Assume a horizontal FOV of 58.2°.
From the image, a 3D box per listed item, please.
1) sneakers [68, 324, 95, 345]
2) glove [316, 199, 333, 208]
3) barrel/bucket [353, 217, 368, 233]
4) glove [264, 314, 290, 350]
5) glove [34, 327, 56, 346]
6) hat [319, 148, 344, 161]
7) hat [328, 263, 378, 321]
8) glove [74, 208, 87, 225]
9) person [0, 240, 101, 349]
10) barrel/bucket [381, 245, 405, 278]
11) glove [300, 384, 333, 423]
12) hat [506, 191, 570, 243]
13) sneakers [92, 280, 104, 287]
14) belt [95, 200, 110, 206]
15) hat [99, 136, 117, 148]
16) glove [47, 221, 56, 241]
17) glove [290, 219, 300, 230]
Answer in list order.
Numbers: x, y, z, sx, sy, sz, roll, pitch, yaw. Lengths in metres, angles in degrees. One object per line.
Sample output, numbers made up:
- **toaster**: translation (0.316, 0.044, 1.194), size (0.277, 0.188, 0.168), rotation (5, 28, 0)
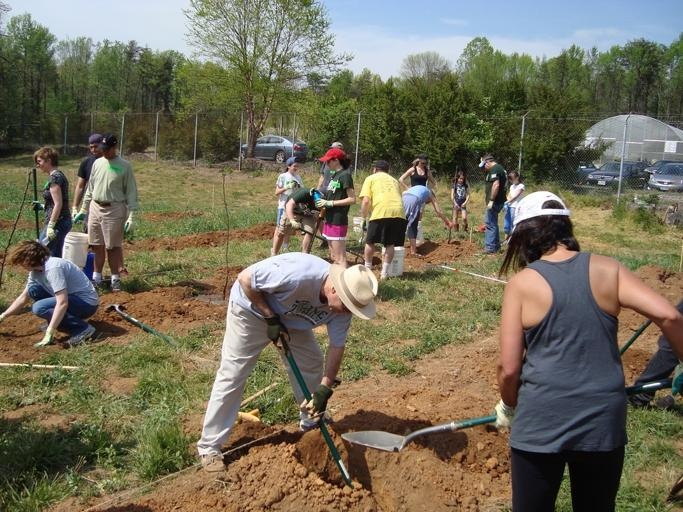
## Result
- **sneakers**: translation (-3.182, 0.975, 7.547), size (0.141, 0.357, 0.162), rotation (29, -33, 7)
- **glove**: translation (-0.266, -0.793, 9.274), size (0.287, 0.122, 0.125), rotation (5, 6, 10)
- **barrel/bucket**: translation (0.357, -0.594, 11.800), size (0.365, 0.314, 0.316), rotation (2, 33, 1)
- **glove**: translation (-0.537, 0.683, 5.266), size (0.103, 0.426, 0.167), rotation (24, 62, 34)
- **glove**: translation (-3.573, 0.932, 7.327), size (0.203, 0.302, 0.336), rotation (0, 7, -29)
- **hat**: translation (-0.217, -1.564, 9.475), size (0.427, 0.170, 0.276), rotation (-7, 13, 23)
- **hat**: translation (0.086, 0.290, 4.994), size (0.391, 0.444, 0.362), rotation (3, 6, -3)
- **glove**: translation (-4.168, -0.639, 9.702), size (0.190, 0.239, 0.531), rotation (6, -15, -25)
- **person**: translation (-3.551, 0.432, 7.438), size (0.872, 1.248, 0.640), rotation (4, 6, 6)
- **barrel/bucket**: translation (0.924, 0.091, 10.517), size (0.457, 0.513, 0.464), rotation (1, 6, 0)
- **glove**: translation (-0.224, 1.261, 5.279), size (0.200, 0.381, 0.329), rotation (2, 6, -14)
- **hat**: translation (1.404, -0.301, 4.507), size (0.269, 0.191, 0.364), rotation (1, -6, -12)
- **sneakers**: translation (-3.738, 0.421, 9.335), size (0.123, 0.101, 0.097), rotation (-10, -3, 25)
- **belt**: translation (-3.525, -0.774, 8.995), size (0.220, 0.065, 0.067), rotation (5, 6, 18)
- **hat**: translation (-3.421, -1.687, 8.960), size (0.196, 0.210, 0.337), rotation (1, 7, -22)
- **glove**: translation (-4.216, -0.365, 8.841), size (0.106, 0.264, 0.149), rotation (0, 7, -25)
- **glove**: translation (-0.741, -0.488, 9.632), size (0.136, 0.089, 0.168), rotation (-3, 22, -10)
